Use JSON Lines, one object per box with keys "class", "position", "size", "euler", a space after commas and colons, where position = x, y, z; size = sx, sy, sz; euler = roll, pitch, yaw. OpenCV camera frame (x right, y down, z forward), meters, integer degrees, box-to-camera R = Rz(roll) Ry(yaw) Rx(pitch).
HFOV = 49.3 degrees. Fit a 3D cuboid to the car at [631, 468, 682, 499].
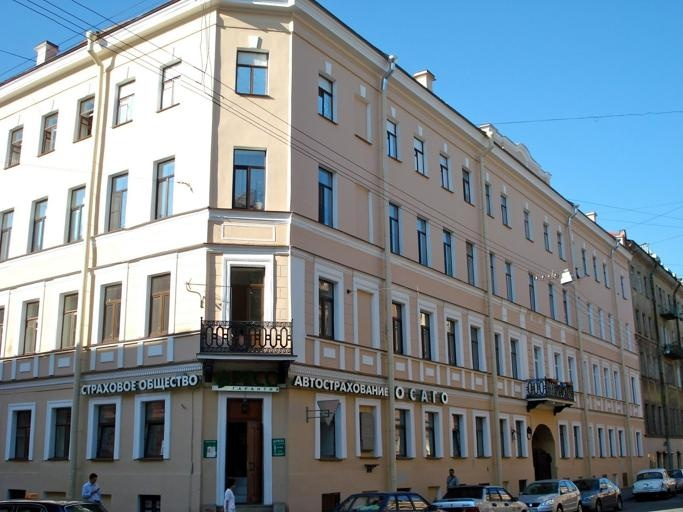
{"class": "car", "position": [17.304, 12.679, 41.557], "size": [1.405, 1.101, 2.933], "euler": [-9, -28, 18]}
